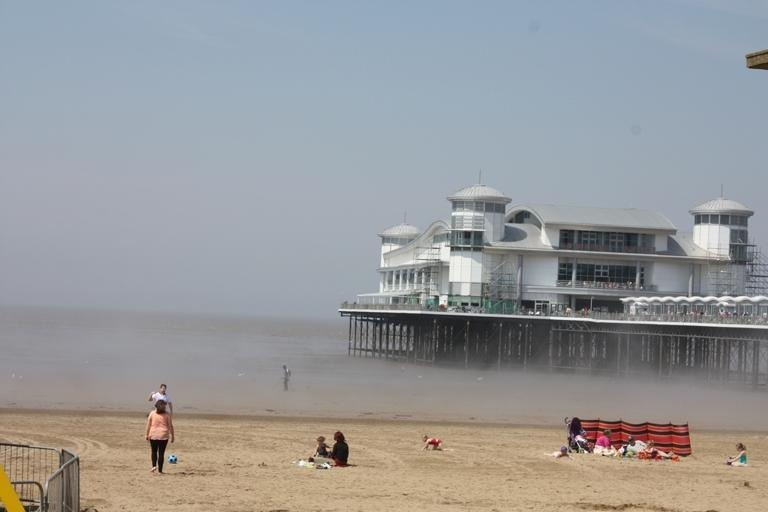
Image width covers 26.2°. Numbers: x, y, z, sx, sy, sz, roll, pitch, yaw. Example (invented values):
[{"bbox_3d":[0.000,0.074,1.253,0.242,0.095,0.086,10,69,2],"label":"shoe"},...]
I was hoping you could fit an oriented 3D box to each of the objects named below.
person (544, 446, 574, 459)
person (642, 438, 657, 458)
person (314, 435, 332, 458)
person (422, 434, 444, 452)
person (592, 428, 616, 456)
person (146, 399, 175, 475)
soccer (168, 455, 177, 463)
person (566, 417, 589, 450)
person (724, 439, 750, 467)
[{"bbox_3d":[8.246,9.244,77.249,1.243,0.471,0.521,-2,9,2],"label":"person"},{"bbox_3d":[12.446,9.074,77.106,0.583,0.715,0.289,0,-32,-3],"label":"person"},{"bbox_3d":[-2.874,9.023,77.322,0.704,1.294,0.766,3,34,18],"label":"person"},{"bbox_3d":[2.367,8.975,79.121,0.929,0.601,1.794,2,-2,1],"label":"person"},{"bbox_3d":[10.363,8.787,77.355,1.016,1.154,0.785,2,-2,-5],"label":"person"},{"bbox_3d":[-10.027,8.104,73.622,1.144,3.327,1.215,3,-2,-8],"label":"person"},{"bbox_3d":[-9.634,9.336,75.480,0.373,0.339,0.289,-6,9,-32],"label":"soccer"},{"bbox_3d":[9.227,8.503,77.831,0.680,1.300,2.366,-8,15,-10],"label":"person"},{"bbox_3d":[16.660,9.318,77.542,1.079,1.162,1.286,4,-5,6],"label":"person"}]
